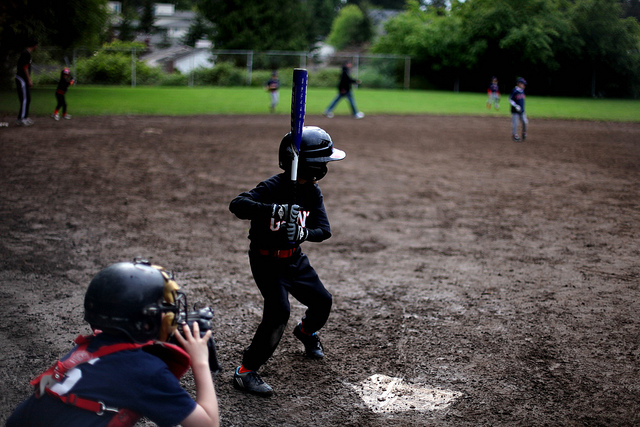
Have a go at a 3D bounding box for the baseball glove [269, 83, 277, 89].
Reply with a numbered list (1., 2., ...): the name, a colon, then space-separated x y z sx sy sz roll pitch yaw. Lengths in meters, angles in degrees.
1. baseball glove: -1.266 -3.482 18.903 0.159 0.133 0.148 1 11 -5

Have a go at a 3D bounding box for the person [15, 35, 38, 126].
1. person: -6.231 -2.756 14.784 0.503 1.695 1.284 -6 13 -22

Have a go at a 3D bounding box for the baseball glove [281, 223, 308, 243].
1. baseball glove: -0.277 0.170 7.368 0.249 0.203 0.181 -16 34 -14

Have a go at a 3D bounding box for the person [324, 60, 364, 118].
1. person: 0.673 -3.330 18.564 1.018 1.449 2.142 0 12 3

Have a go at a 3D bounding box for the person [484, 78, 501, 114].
1. person: 4.805 -3.253 19.154 0.381 0.942 1.014 2 12 13

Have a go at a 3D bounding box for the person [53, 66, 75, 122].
1. person: -6.022 -2.839 16.305 0.486 1.194 2.586 -5 13 -19
